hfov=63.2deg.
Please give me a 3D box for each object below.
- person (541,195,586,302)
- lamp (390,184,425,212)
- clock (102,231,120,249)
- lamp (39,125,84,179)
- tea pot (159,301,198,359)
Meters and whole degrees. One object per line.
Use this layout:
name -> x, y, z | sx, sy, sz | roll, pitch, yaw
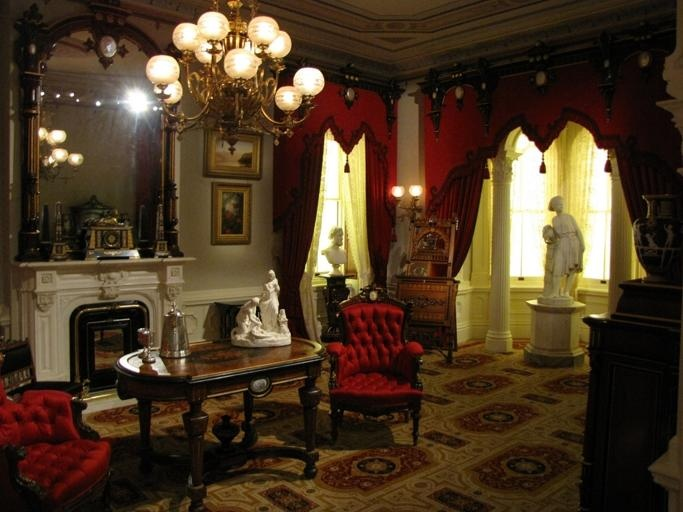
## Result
person -> 3.117, -0.125, 7.965 | 0.549, 1.466, 0.321 | 3, 8, 17
lamp -> 1.043, -0.974, 9.165 | 0.619, 0.402, 0.433 | -4, -13, 14
clock -> -2.568, -0.182, 6.230 | 0.195, 0.174, 0.062 | 11, -11, -42
lamp -> -3.061, -1.153, 6.217 | 0.411, 0.438, 0.485 | -1, 12, -21
tea pot -> -1.414, 0.626, 4.702 | 0.240, 0.441, 0.278 | -2, 7, -18
